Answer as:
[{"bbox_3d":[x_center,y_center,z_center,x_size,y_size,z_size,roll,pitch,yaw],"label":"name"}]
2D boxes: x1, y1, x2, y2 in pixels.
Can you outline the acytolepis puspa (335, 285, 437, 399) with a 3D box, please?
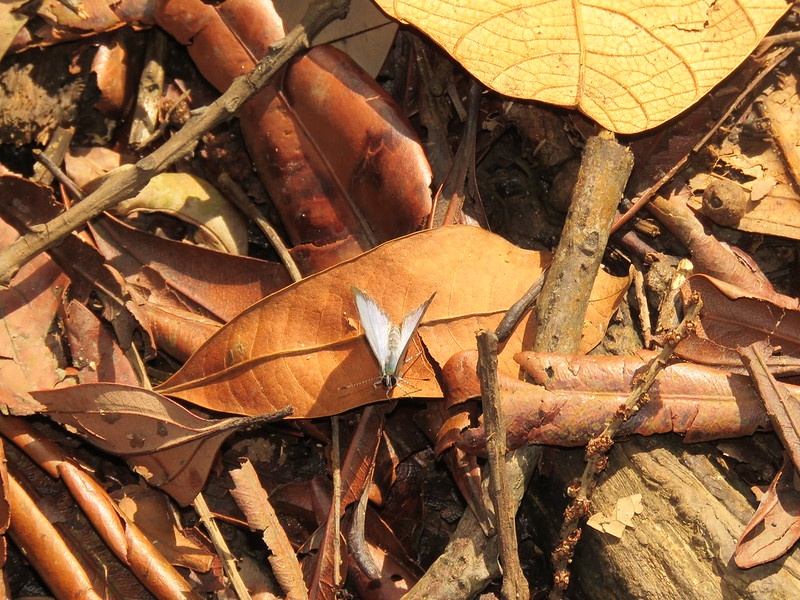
[{"bbox_3d":[-0.018,0.154,3.546,0.313,0.402,0.224,-10,30,1],"label":"acytolepis puspa"}]
